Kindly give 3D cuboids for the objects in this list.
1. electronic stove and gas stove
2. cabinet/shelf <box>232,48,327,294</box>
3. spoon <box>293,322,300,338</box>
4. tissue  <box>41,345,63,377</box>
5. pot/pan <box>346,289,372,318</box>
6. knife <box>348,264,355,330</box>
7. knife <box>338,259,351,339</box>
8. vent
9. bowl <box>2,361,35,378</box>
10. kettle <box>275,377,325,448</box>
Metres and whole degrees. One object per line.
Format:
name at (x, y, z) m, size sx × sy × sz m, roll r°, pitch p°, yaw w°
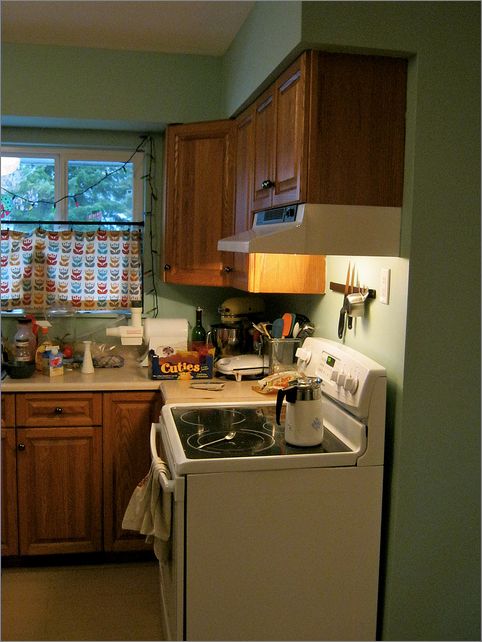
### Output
electronic stove and gas stove at (0.051, 0.169, 1.755) m, size 0.645 × 0.334 × 0.815 m, roll -1°, pitch 14°, yaw -14°
cabinet/shelf at (0.214, -0.542, 1.963) m, size 0.298 × 0.882 × 0.474 m, roll 0°, pitch 5°, yaw -12°
spoon at (0.237, 0.037, 2.276) m, size 0.032 × 0.064 × 0.022 m, roll 1°, pitch 4°, yaw 2°
tissue  at (-0.879, 0.187, 2.480) m, size 0.088 × 0.182 × 0.096 m, roll 7°, pitch 10°, yaw 29°
pot/pan at (0.396, -0.064, 1.805) m, size 0.090 × 0.112 × 0.058 m, roll 1°, pitch 5°, yaw 3°
knife at (0.397, -0.089, 1.918) m, size 0.016 × 0.253 × 0.027 m, roll 5°, pitch -1°, yaw 0°
knife at (0.375, -0.077, 1.919) m, size 0.019 × 0.276 × 0.037 m, roll 10°, pitch 9°, yaw 28°
vent at (0.227, -0.289, 1.685) m, size 0.342 × 0.171 × 0.448 m, roll -1°, pitch 12°, yaw -15°
bowl at (-1.023, 0.218, 2.423) m, size 0.160 × 0.075 × 0.087 m, roll 2°, pitch 4°, yaw 15°
kettle at (0.164, 0.258, 1.565) m, size 0.107 × 0.214 × 0.182 m, roll 5°, pitch 10°, yaw 37°
